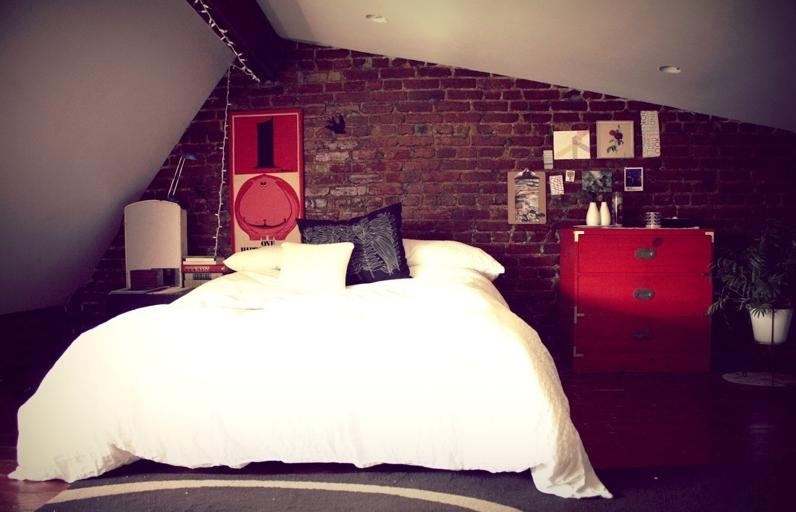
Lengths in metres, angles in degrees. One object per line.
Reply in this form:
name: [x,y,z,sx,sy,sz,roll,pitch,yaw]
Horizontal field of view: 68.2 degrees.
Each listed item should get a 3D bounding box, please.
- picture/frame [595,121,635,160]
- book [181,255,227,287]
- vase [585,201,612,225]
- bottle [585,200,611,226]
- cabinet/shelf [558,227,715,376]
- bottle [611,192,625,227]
picture/frame: [1.858,-1.014,5.016,0.343,0.315,0.034,-1,2,2]
book: [-1.618,0.100,4.947,0.310,0.199,0.293,-1,4,-1]
vase: [1.644,-0.355,4.842,0.244,0.224,0.146,-1,2,16]
bottle: [1.641,-0.349,4.839,0.248,0.228,0.144,-1,2,19]
cabinet/shelf: [1.900,0.330,4.950,1.222,1.133,0.657,0,-1,-8]
bottle: [1.846,-0.412,4.956,0.123,0.280,0.236,5,9,16]
